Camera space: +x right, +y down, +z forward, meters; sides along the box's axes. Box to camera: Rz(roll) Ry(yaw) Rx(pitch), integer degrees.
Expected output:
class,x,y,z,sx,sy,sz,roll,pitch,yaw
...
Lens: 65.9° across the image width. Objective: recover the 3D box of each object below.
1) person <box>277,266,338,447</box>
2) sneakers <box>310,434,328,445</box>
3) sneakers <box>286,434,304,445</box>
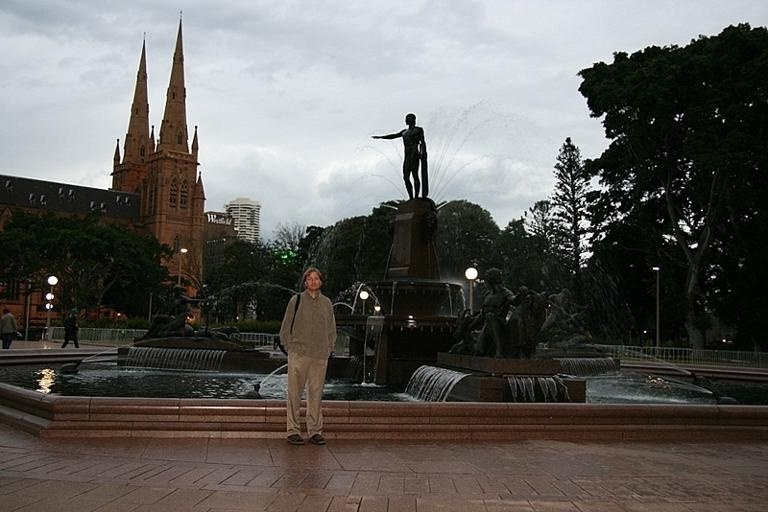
class,x,y,z,sx,sy,sz,roll,pitch,yaw
person,-1.151,1.464,8.784,0.789,2.556,0.373,2,-5,-2
sneakers,-0.986,2.682,8.703,0.247,0.138,0.212,2,-5,-7
sneakers,-1.298,2.682,8.665,0.103,0.109,0.275,8,-17,-31
